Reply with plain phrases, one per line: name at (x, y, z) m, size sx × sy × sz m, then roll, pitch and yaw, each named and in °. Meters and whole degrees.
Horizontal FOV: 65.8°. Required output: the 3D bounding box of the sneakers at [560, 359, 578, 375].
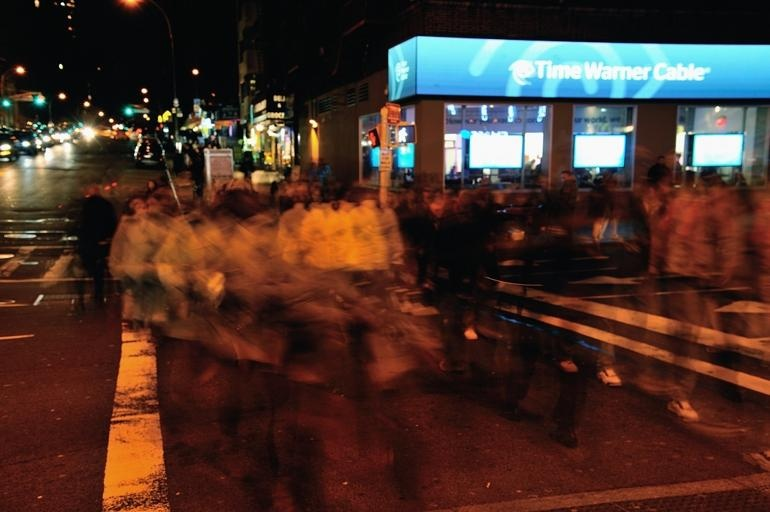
sneakers at (2.616, 1.576, 8.492) m, size 0.144 × 0.108 × 0.279 m, roll -5°, pitch 3°, yaw -5°

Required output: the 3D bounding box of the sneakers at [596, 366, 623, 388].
sneakers at (3.109, 1.661, 8.218) m, size 0.293 × 0.131 × 0.229 m, roll 20°, pitch 42°, yaw 37°
